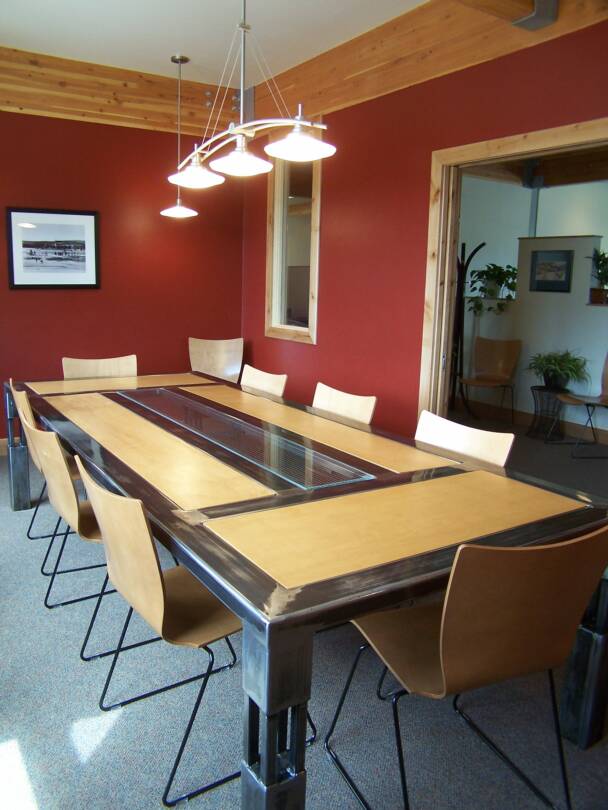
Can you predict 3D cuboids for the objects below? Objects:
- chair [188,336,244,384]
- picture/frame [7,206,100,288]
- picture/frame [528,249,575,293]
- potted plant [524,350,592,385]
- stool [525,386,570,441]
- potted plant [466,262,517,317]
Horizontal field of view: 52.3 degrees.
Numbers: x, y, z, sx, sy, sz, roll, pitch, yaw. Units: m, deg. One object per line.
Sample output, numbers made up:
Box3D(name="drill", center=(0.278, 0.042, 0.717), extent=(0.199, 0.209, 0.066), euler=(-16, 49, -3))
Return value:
Box3D(name="chair", center=(-0.720, -0.364, 5.017), extent=(0.386, 0.589, 0.392), euler=(-5, 17, -22))
Box3D(name="picture/frame", center=(-1.940, -1.220, 4.719), extent=(0.656, 0.605, 0.025), euler=(-7, 12, -39))
Box3D(name="picture/frame", center=(2.429, -1.321, 6.075), extent=(0.031, 0.426, 0.420), euler=(-6, 17, -36))
Box3D(name="potted plant", center=(2.421, -0.323, 5.859), extent=(0.382, 0.258, 0.377), euler=(1, 3, -27))
Box3D(name="stool", center=(2.322, 0.084, 5.942), extent=(0.383, 0.442, 0.380), euler=(2, 9, -8))
Box3D(name="potted plant", center=(2.099, -1.301, 7.019), extent=(0.472, 0.568, 1.171), euler=(3, 8, 15))
